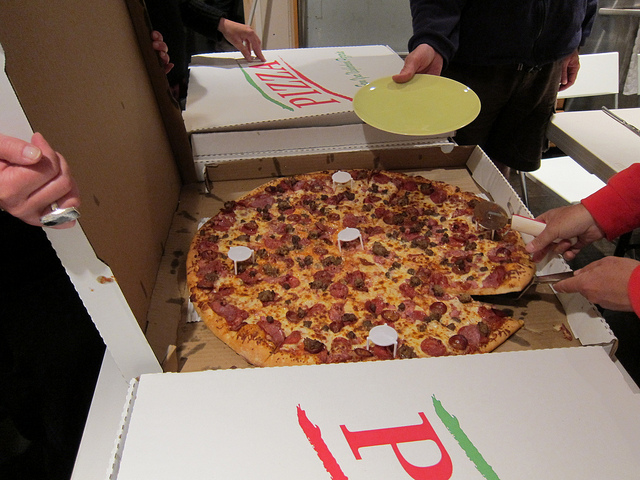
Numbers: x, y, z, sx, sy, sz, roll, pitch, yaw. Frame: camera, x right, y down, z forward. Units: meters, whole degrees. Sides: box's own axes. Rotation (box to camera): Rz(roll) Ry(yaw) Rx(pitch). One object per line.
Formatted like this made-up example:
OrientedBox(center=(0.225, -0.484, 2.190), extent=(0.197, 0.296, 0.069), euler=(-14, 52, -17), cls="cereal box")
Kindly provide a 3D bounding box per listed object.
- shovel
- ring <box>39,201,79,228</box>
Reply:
OrientedBox(center=(0.998, 0.245, 2.578), extent=(0.445, 0.080, 0.167), euler=(-13, 20, 19), cls="shovel")
OrientedBox(center=(-0.864, -0.086, 1.716), extent=(0.085, 0.085, 0.027), euler=(-17, 11, -16), cls="ring")
